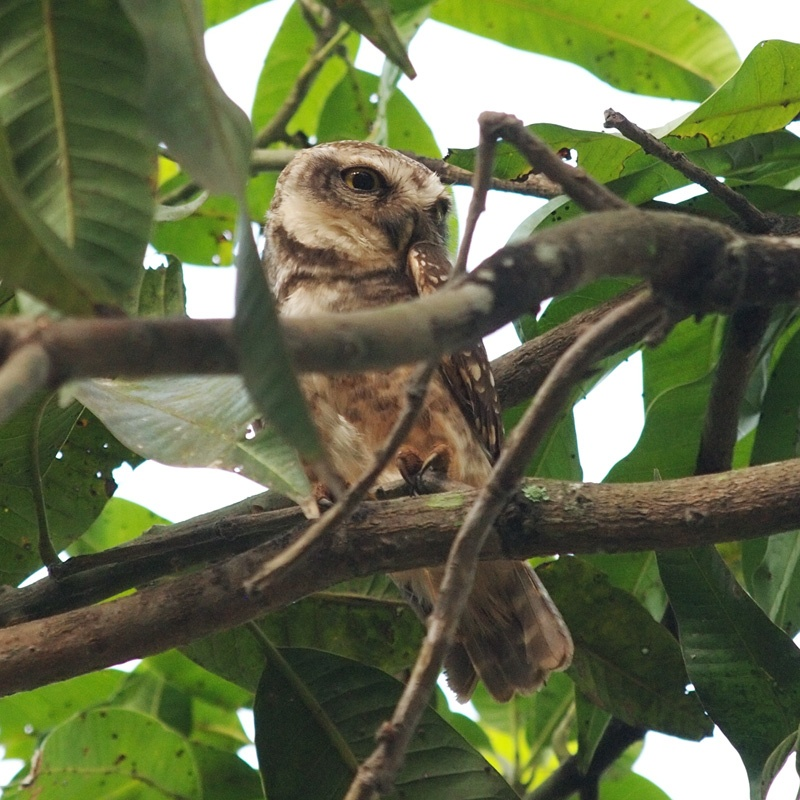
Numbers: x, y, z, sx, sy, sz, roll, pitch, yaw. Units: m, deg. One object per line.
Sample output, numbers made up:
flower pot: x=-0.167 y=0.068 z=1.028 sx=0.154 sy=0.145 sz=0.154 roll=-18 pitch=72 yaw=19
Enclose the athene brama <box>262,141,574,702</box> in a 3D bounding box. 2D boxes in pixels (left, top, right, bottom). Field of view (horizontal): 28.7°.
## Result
athene brama: x=0.009 y=-0.003 z=3.111 sx=0.508 sy=1.421 sz=0.745 roll=-6 pitch=-60 yaw=-10
